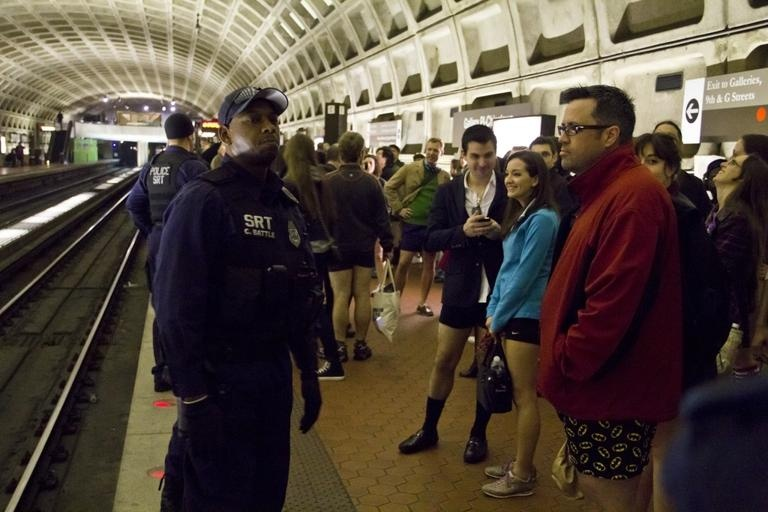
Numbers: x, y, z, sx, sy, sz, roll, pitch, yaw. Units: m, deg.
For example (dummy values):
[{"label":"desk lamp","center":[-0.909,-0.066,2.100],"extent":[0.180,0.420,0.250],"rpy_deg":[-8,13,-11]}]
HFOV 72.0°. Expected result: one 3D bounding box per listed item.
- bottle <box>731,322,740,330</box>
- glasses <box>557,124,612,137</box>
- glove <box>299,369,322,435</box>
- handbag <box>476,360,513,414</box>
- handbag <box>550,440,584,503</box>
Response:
[{"label":"bottle","center":[2.369,0.464,3.551],"extent":[0.043,0.033,0.034],"rpy_deg":[1,11,21]},{"label":"glasses","center":[1.034,-0.658,2.752],"extent":[0.136,0.037,0.127],"rpy_deg":[0,10,-8]},{"label":"glove","center":[-0.433,0.842,3.076],"extent":[0.128,0.381,0.180],"rpy_deg":[-5,10,-10]},{"label":"handbag","center":[0.843,0.941,4.006],"extent":[0.248,0.423,0.331],"rpy_deg":[-6,5,7]},{"label":"handbag","center":[1.322,1.552,3.828],"extent":[0.307,0.392,0.172],"rpy_deg":[5,-1,-11]}]
